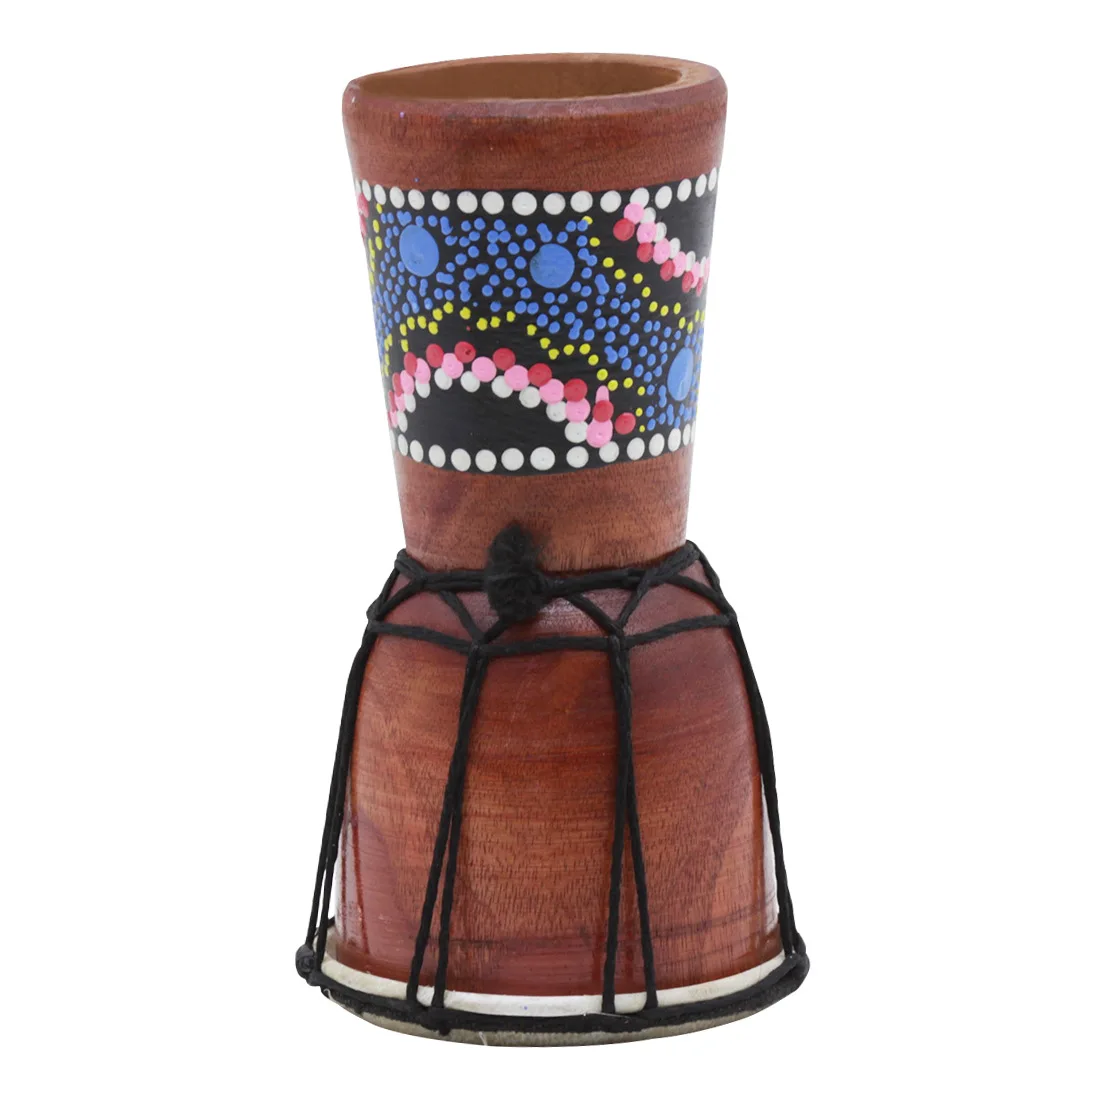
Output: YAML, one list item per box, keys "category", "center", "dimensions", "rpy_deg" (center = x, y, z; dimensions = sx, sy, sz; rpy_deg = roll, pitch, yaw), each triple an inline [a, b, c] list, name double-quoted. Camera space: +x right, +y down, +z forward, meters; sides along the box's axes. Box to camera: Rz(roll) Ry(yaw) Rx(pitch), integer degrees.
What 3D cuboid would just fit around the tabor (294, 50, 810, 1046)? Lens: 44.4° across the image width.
- category: "tabor"
  center: [0.050, 0.016, 1.975]
  dimensions: [0.767, 1.416, 0.372]
  rpy_deg: [3, 8, -8]
